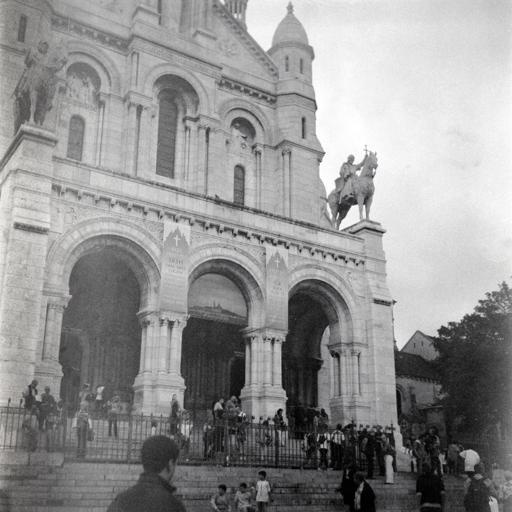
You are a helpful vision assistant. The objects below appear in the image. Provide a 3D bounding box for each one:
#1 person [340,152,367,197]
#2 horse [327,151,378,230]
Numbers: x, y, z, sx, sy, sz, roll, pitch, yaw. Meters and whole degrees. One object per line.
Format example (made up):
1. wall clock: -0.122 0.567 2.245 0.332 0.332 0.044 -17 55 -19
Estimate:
1. person: 4.697 -3.898 30.817 1.013 2.936 0.899 6 -26 12
2. horse: 4.576 -3.195 31.146 1.225 3.932 3.437 16 -27 -41
